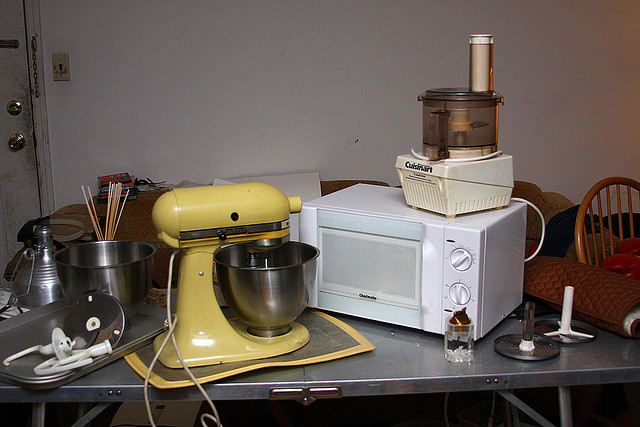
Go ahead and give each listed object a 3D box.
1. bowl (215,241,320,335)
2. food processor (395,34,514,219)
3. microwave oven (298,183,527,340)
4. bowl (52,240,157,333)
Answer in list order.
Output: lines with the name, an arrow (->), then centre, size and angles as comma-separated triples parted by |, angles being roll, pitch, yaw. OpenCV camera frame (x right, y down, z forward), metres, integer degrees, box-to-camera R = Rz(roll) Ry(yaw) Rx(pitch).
bowl -> -0.165, 0.200, 1.696 | 0.298, 0.221, 0.308 | -3, 2, 0
food processor -> 0.465, -0.318, 1.814 | 0.392, 0.614, 0.427 | 6, 16, 32
microwave oven -> 0.288, 0.160, 1.702 | 0.635, 0.378, 0.481 | 8, 13, 35
bowl -> -0.681, 0.175, 1.719 | 0.319, 0.246, 0.302 | -2, 10, 0
